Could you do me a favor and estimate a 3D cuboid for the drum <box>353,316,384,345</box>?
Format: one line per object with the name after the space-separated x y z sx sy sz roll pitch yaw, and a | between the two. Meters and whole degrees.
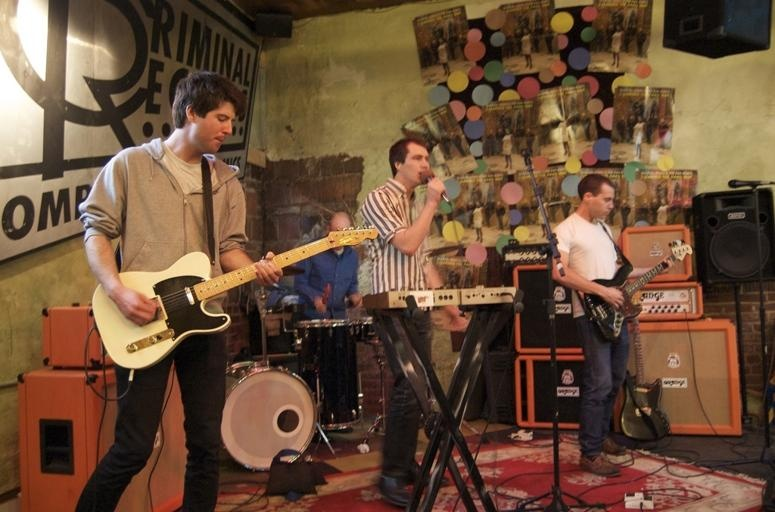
-0.172 0.615 6.498 0.224 0.312 0.305 -7 -11 32 | drum

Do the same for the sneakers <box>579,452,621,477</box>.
1.716 1.671 6.242 0.326 0.161 0.138 -3 -3 19 | sneakers

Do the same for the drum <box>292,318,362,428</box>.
-0.503 1.067 7.391 0.765 1.197 0.842 -3 -3 -7 | drum

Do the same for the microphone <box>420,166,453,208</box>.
0.347 -0.506 5.621 0.189 0.270 0.467 -1 -1 2 | microphone
